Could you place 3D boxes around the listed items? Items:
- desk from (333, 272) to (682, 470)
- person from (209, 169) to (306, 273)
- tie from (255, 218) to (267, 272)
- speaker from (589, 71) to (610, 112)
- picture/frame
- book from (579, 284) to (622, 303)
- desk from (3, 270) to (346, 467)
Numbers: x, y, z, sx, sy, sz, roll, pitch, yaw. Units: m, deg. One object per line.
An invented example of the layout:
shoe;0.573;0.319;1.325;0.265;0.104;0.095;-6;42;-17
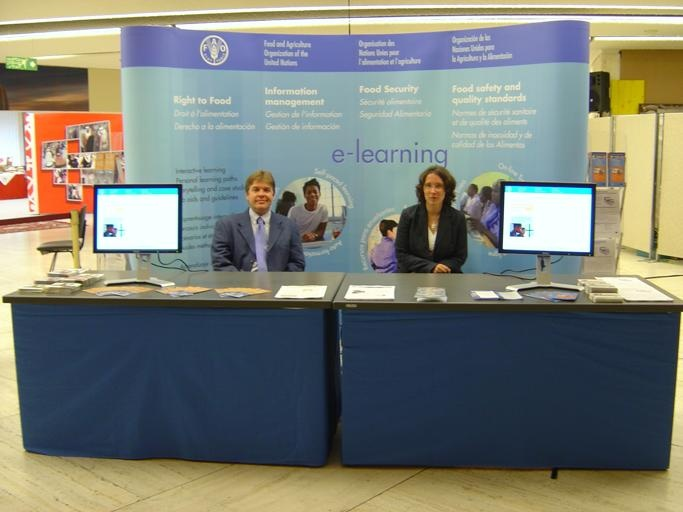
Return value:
desk;0.985;0.687;3.666;2.054;0.880;0.988;0;11;1
person;-0.629;-0.249;4.370;0.673;0.732;0.397;-4;14;-12
tie;-0.595;-0.092;4.397;0.089;0.365;0.174;-3;14;-6
speaker;4.292;-2.717;9.889;0.259;0.652;0.364;9;17;37
picture/frame;-5.961;-2.158;13.454;2.499;2.168;1.191;11;18;43
book;1.429;0.200;3.230;0.165;0.066;0.180;0;12;5
desk;-0.967;0.589;3.731;2.037;0.927;1.025;1;13;2
